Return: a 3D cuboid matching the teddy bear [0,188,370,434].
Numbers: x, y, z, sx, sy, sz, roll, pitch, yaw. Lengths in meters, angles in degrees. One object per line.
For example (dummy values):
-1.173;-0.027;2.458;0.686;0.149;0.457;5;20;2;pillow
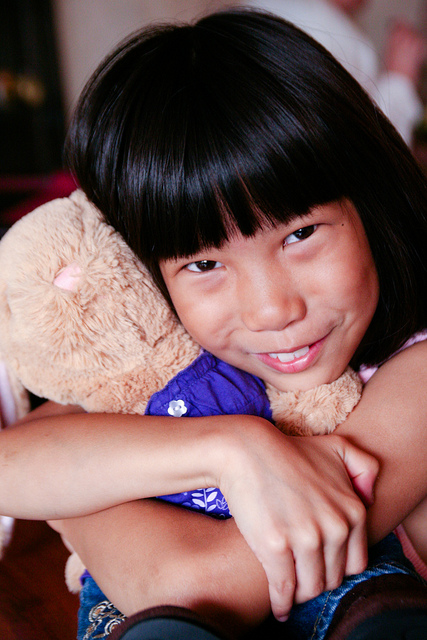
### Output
-0.077;0.058;0.749;0.267;0.158;0.363;-41;74;-7;teddy bear
